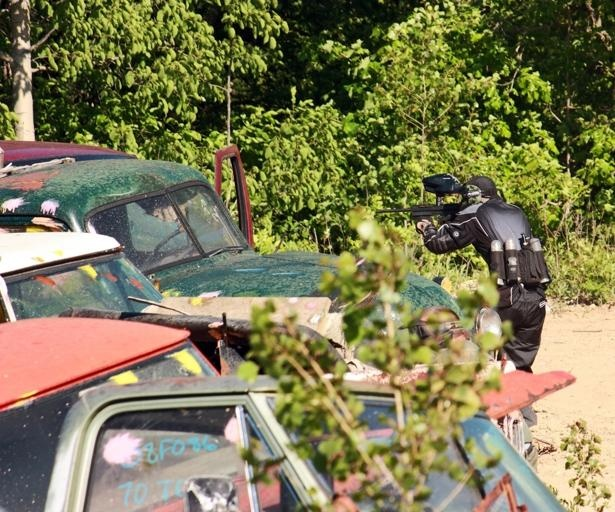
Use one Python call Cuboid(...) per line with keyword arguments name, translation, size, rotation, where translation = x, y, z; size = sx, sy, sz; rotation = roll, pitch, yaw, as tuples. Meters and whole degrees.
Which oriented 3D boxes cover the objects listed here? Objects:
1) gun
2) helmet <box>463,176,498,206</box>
Cuboid(name="gun", translation=(1.114, -0.451, 9.528), size=(1.079, 0.581, 0.217), rotation=(-9, -12, -25))
Cuboid(name="helmet", translation=(1.504, -0.567, 8.789), size=(0.252, 0.135, 0.184), rotation=(27, 18, 36))
